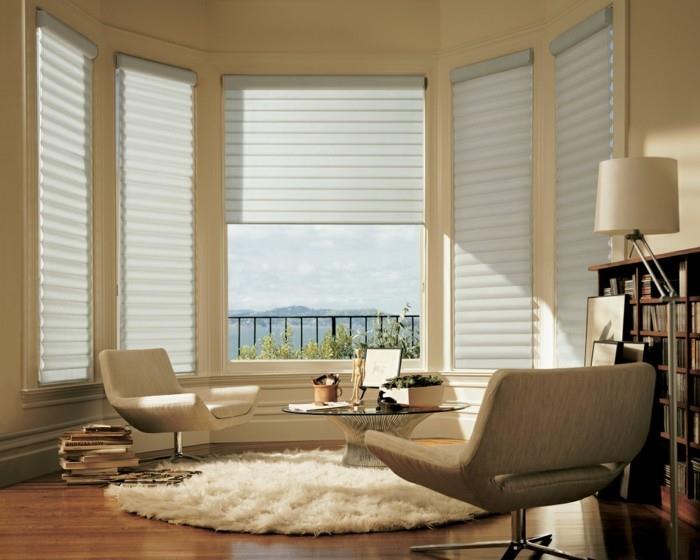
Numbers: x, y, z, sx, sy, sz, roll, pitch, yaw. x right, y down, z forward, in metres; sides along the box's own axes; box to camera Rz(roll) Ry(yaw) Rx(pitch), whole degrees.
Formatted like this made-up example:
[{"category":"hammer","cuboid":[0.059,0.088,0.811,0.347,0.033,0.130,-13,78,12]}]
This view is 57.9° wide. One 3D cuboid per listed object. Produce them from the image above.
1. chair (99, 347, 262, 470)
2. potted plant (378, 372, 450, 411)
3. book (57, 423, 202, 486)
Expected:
[{"category":"chair","cuboid":[-1.172,0.869,4.391,1.020,0.719,1.027,1,-5,-2]},{"category":"potted plant","cuboid":[0.438,0.704,4.106,0.244,0.148,0.327,-1,10,-7]},{"category":"book","cuboid":[-1.455,1.074,3.855,0.593,0.202,0.434,2,-5,-7]}]
